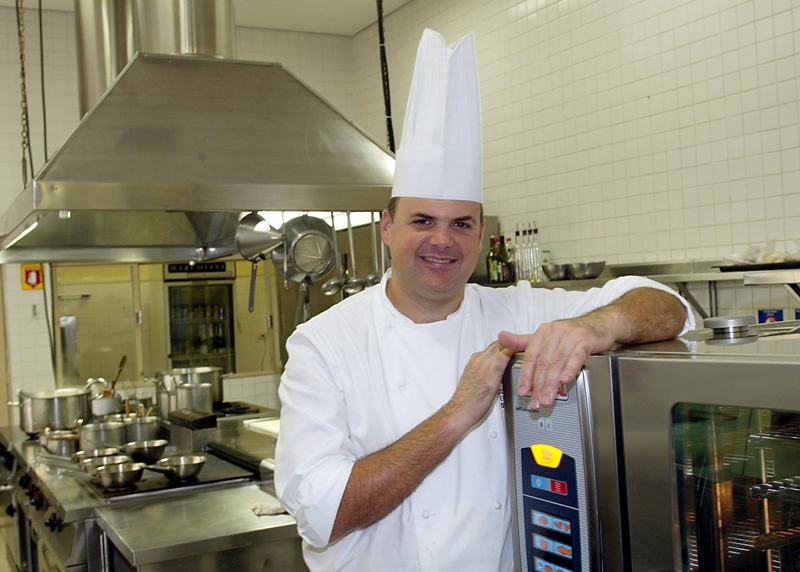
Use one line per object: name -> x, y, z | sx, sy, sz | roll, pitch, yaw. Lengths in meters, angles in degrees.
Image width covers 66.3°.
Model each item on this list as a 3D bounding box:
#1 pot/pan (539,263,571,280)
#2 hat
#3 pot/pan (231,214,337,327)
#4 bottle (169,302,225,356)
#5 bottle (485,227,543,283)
pot/pan -> 0.859, -0.073, 3.356 | 0.095, 0.054, 0.096 | 0, -5, -11
hat -> 0.075, -0.365, 1.376 | 0.226, 0.377, 0.106 | -9, 5, 6
pot/pan -> -0.455, -0.129, 2.707 | 0.382, 0.540, 0.092 | 18, 16, 12
bottle -> -1.644, 0.345, 4.894 | 0.406, 0.364, 0.135 | -2, 4, -27
bottle -> 0.727, -0.187, 3.848 | 0.348, 0.475, 0.141 | -4, -7, 33
